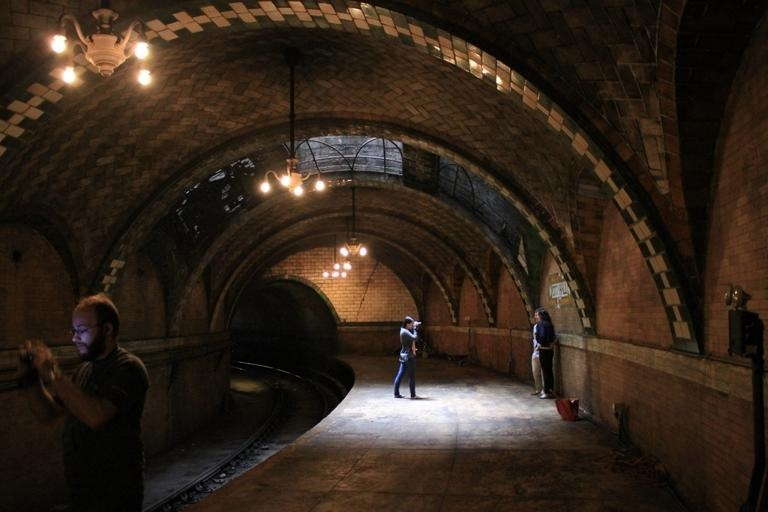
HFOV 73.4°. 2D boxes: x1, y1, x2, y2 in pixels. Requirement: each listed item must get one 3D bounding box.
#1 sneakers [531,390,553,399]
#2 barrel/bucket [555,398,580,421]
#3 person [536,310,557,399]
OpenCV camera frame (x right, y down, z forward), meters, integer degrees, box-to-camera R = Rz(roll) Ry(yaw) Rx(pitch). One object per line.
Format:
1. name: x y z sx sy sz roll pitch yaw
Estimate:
1. sneakers: 3.402 2.990 11.156 0.397 0.175 0.136 -20 -18 33
2. barrel/bucket: 3.201 2.681 9.083 0.390 0.379 0.333 -3 -8 10
3. person: 3.411 2.047 10.928 0.364 1.885 0.569 -3 -4 22
